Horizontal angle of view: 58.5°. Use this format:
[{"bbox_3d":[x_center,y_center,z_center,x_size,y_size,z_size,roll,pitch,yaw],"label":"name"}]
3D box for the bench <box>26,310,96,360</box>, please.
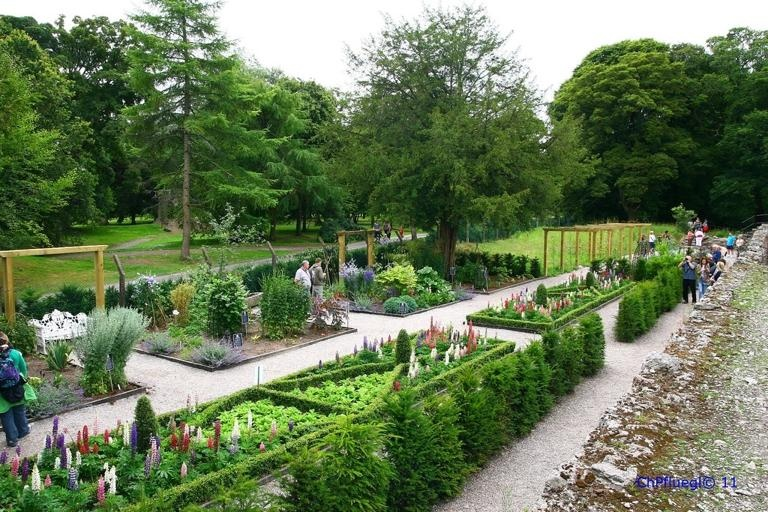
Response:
[{"bbox_3d":[-9.219,2.091,19.419,1.490,1.012,0.536,-5,6,-24],"label":"bench"}]
